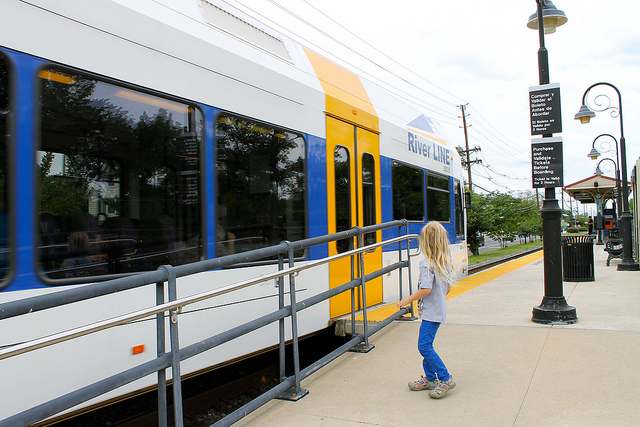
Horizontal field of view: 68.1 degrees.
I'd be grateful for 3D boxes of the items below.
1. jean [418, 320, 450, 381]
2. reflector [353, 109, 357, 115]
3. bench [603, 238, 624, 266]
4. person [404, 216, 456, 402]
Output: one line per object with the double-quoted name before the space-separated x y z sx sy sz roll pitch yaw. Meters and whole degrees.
"jean" 1.153 1.371 4.781 0.294 0.626 0.212 1 3 13
"reflector" 0.551 -1.618 7.512 0.015 0.061 0.066 6 3 31
"bench" 9.574 1.244 15.449 0.818 0.967 0.860 -3 -6 22
"person" 1.156 0.943 4.803 0.429 1.715 0.425 -2 4 -25
